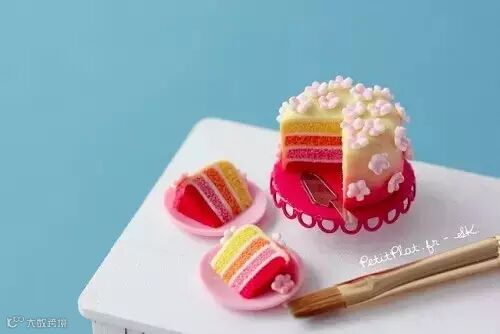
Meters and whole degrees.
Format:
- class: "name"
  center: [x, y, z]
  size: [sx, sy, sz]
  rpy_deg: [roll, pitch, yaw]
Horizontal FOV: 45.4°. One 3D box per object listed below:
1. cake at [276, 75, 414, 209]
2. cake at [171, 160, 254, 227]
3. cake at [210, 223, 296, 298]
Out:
- class: "cake"
  center: [0.307, -0.110, 1.763]
  size: [0.381, 0.253, 0.399]
  rpy_deg: [18, 52, 28]
- class: "cake"
  center: [-0.111, 0.072, 1.782]
  size: [0.192, 0.139, 0.207]
  rpy_deg: [30, 47, 34]
- class: "cake"
  center: [0.002, 0.246, 1.607]
  size: [0.194, 0.059, 0.186]
  rpy_deg: [41, 82, 23]
